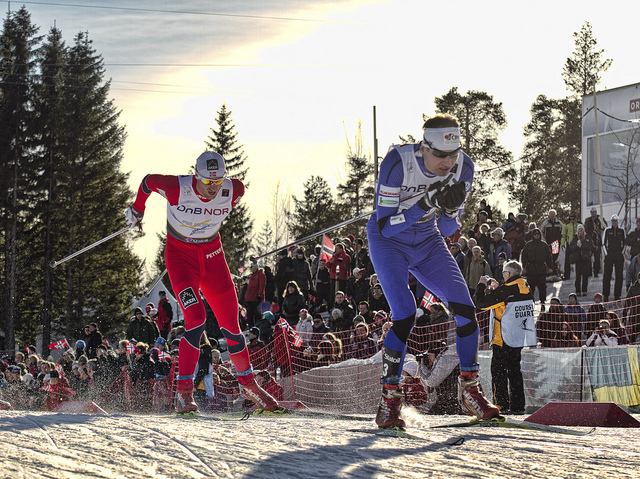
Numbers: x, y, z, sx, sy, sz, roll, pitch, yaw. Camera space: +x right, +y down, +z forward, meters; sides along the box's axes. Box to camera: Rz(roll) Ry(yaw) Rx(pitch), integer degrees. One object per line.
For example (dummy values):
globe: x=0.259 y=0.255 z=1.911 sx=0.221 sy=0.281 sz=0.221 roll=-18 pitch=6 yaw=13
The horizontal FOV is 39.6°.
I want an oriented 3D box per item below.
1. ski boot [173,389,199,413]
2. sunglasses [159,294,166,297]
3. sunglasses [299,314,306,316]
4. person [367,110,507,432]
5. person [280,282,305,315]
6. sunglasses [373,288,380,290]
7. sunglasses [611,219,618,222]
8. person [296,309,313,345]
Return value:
ski boot: x=-1.725 y=2.072 z=11.473 sx=0.232 sy=0.341 sz=0.591 roll=-2 pitch=-2 yaw=-14
sunglasses: x=-4.163 y=1.467 z=23.577 sx=0.131 sy=0.065 sz=0.157 roll=0 pitch=-4 yaw=-3
sunglasses: x=-0.359 y=1.579 z=18.695 sx=0.143 sy=0.029 sz=0.058 roll=-4 pitch=-3 yaw=39
person: x=1.250 y=0.337 z=10.251 sx=1.305 sy=3.587 sz=0.831 roll=-2 pitch=-2 yaw=-1
person: x=-0.653 y=1.430 z=21.211 sx=0.540 sy=0.835 sz=0.501 roll=0 pitch=-1 yaw=8
sunglasses: x=1.203 y=1.029 z=18.736 sx=0.068 sy=0.029 sz=0.314 roll=-2 pitch=-2 yaw=-14
sunglasses: x=7.460 y=-0.498 z=22.429 sx=0.098 sy=0.074 sz=0.097 roll=4 pitch=-7 yaw=-34
person: x=-0.310 y=1.818 z=18.369 sx=0.392 sy=0.892 sz=0.282 roll=-7 pitch=-20 yaw=27
